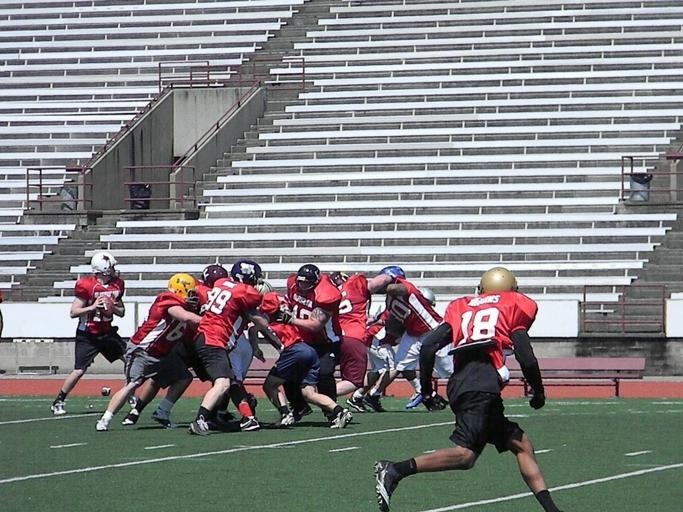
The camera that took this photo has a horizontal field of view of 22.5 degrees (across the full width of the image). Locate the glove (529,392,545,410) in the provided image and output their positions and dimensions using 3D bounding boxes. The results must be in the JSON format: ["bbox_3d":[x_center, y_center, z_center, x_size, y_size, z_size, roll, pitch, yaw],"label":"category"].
[{"bbox_3d":[3.079,2.288,27.262,0.265,0.281,0.325,1,-1,4],"label":"glove"}]

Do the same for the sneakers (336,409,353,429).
[{"bbox_3d":[0.046,2.955,30.876,0.178,0.192,0.414,-12,-33,-50],"label":"sneakers"}]

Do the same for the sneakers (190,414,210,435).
[{"bbox_3d":[-2.514,2.995,30.351,0.329,0.351,0.178,1,-3,-4],"label":"sneakers"}]

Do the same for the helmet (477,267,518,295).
[{"bbox_3d":[2.469,0.394,27.400,0.562,0.458,0.400,-18,37,-11],"label":"helmet"}]

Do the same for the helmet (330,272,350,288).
[{"bbox_3d":[-0.041,0.449,32.636,0.363,0.265,0.250,-16,5,-27],"label":"helmet"}]

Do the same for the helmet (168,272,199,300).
[{"bbox_3d":[-2.796,0.506,30.626,0.544,0.444,0.403,-20,25,-22],"label":"helmet"}]

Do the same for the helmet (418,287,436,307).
[{"bbox_3d":[1.635,0.794,32.908,0.396,0.341,0.315,-10,-8,7],"label":"helmet"}]

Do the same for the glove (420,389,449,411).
[{"bbox_3d":[1.720,2.737,31.866,0.311,0.447,0.946,-45,-7,6],"label":"glove"}]

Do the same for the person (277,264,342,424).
[{"bbox_3d":[-0.519,1.385,30.837,0.969,2.429,0.889,1,-3,-2],"label":"person"}]

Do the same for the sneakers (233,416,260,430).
[{"bbox_3d":[-1.670,3.023,30.844,0.191,0.182,0.431,1,4,-31],"label":"sneakers"}]

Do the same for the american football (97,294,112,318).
[{"bbox_3d":[-4.401,0.939,32.317,0.269,0.317,0.162,16,28,41],"label":"american football"}]

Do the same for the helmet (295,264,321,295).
[{"bbox_3d":[-0.582,0.376,30.681,0.449,0.416,0.495,11,45,13],"label":"helmet"}]

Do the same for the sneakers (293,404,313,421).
[{"bbox_3d":[-0.696,2.841,31.440,0.176,0.202,0.491,19,35,25],"label":"sneakers"}]

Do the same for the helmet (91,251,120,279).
[{"bbox_3d":[-4.432,0.139,32.597,0.687,0.491,0.501,-8,15,-36],"label":"helmet"}]

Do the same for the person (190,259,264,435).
[{"bbox_3d":[-2.072,1.628,30.539,1.199,3.108,0.600,1,-3,-4],"label":"person"}]
